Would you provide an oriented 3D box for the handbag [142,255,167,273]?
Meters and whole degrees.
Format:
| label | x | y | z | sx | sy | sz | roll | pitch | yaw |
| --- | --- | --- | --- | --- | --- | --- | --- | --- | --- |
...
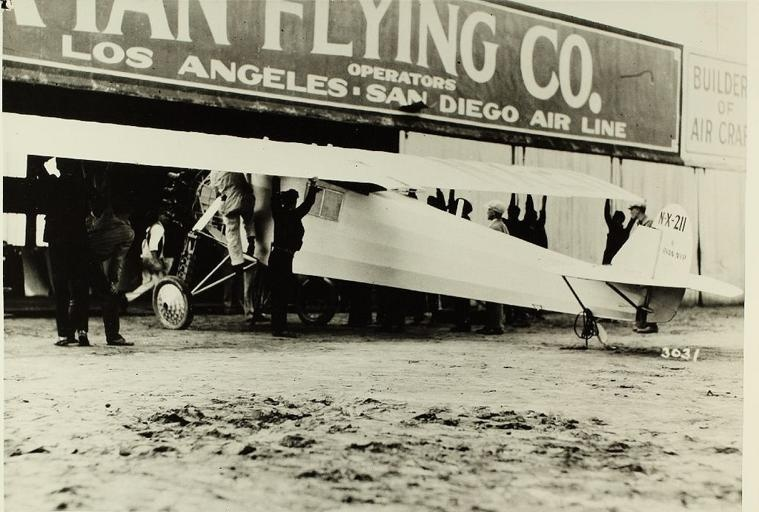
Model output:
| label | x | y | z | sx | sy | sz | roll | pitch | yaw |
| --- | --- | --- | --- | --- | --- | --- | --- | --- | --- |
| handbag | -3.290 | 0.118 | 14.801 | 0.256 | 0.227 | 0.209 | -18 | -12 | 15 |

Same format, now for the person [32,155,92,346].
| label | x | y | z | sx | sy | sz | roll | pitch | yaw |
| --- | --- | --- | --- | --- | --- | --- | --- | --- | --- |
| person | -4.389 | -0.065 | 14.192 | 0.579 | 2.578 | 0.246 | 1 | -1 | -22 |

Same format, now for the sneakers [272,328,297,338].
| label | x | y | z | sx | sy | sz | roll | pitch | yaw |
| --- | --- | --- | --- | --- | --- | --- | --- | --- | --- |
| sneakers | -1.422 | 1.148 | 14.874 | 0.254 | 0.096 | 0.162 | 8 | -7 | -17 |

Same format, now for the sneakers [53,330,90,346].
| label | x | y | z | sx | sy | sz | roll | pitch | yaw |
| --- | --- | --- | --- | --- | --- | --- | --- | --- | --- |
| sneakers | -4.278 | 1.144 | 14.230 | 0.541 | 0.240 | 0.186 | 5 | -3 | -10 |

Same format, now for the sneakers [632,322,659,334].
| label | x | y | z | sx | sy | sz | roll | pitch | yaw |
| --- | --- | --- | --- | --- | --- | --- | --- | --- | --- |
| sneakers | 4.261 | 1.156 | 16.280 | 0.363 | 0.155 | 0.283 | 1 | 1 | 11 |

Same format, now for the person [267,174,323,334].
| label | x | y | z | sx | sy | sz | roll | pitch | yaw |
| --- | --- | --- | --- | --- | --- | --- | --- | --- | --- |
| person | -1.304 | 0.028 | 14.823 | 0.643 | 2.284 | 0.240 | 1 | -1 | -6 |

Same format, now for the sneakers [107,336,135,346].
| label | x | y | z | sx | sy | sz | roll | pitch | yaw |
| --- | --- | --- | --- | --- | --- | --- | --- | --- | --- |
| sneakers | -3.623 | 1.188 | 14.237 | 0.391 | 0.172 | 0.143 | 1 | 6 | -11 |
